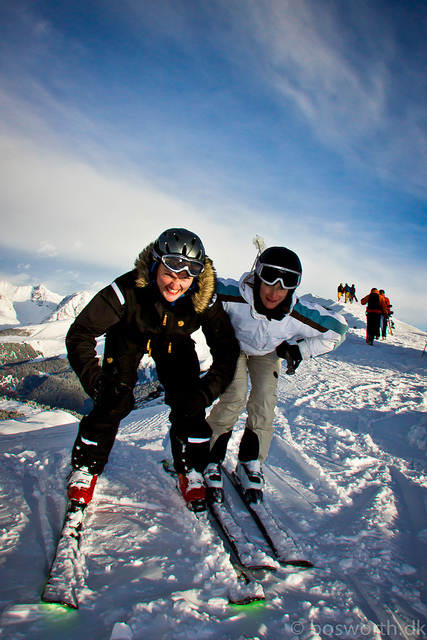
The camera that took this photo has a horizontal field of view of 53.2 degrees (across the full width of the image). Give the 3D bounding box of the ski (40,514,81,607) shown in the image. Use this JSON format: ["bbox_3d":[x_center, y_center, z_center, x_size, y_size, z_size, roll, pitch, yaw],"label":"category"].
[{"bbox_3d":[-0.845,1.445,2.500,0.282,0.040,0.970,37,-14,-11],"label":"ski"}]

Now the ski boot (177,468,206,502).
[{"bbox_3d":[-0.146,1.205,3.094,0.150,0.170,0.249,7,4,-24],"label":"ski boot"}]

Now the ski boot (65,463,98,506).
[{"bbox_3d":[-0.889,1.105,2.858,0.180,0.153,0.218,8,4,-10],"label":"ski boot"}]

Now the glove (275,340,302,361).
[{"bbox_3d":[0.682,0.279,3.782,0.121,0.146,0.274,7,5,-23],"label":"glove"}]

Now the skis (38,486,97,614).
[{"bbox_3d":[-0.860,1.272,2.581,0.167,0.075,1.138,22,6,-15],"label":"skis"}]

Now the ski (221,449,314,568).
[{"bbox_3d":[0.301,1.430,3.322,0.205,0.112,1.393,5,11,-16],"label":"ski"}]

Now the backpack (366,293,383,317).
[{"bbox_3d":[4.932,-0.526,13.028,0.590,0.764,0.420,1,4,17],"label":"backpack"}]

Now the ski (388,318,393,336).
[{"bbox_3d":[7.870,0.318,18.883,0.073,0.850,0.120,-29,22,-6],"label":"ski"}]
